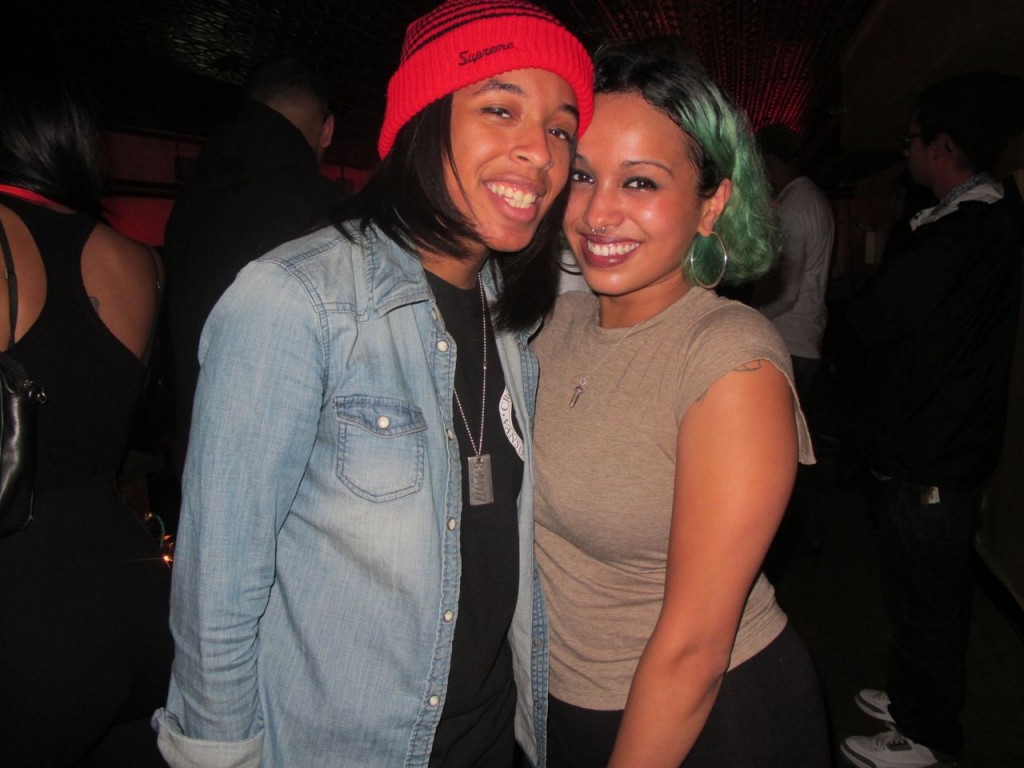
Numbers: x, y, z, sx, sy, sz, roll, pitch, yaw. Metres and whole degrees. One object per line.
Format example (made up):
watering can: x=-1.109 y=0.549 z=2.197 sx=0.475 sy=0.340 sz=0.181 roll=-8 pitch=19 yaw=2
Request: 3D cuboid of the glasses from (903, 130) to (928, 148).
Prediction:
glasses: x=2.027 y=-1.251 z=4.148 sx=0.092 sy=0.029 sz=0.091 roll=11 pitch=11 yaw=-14
